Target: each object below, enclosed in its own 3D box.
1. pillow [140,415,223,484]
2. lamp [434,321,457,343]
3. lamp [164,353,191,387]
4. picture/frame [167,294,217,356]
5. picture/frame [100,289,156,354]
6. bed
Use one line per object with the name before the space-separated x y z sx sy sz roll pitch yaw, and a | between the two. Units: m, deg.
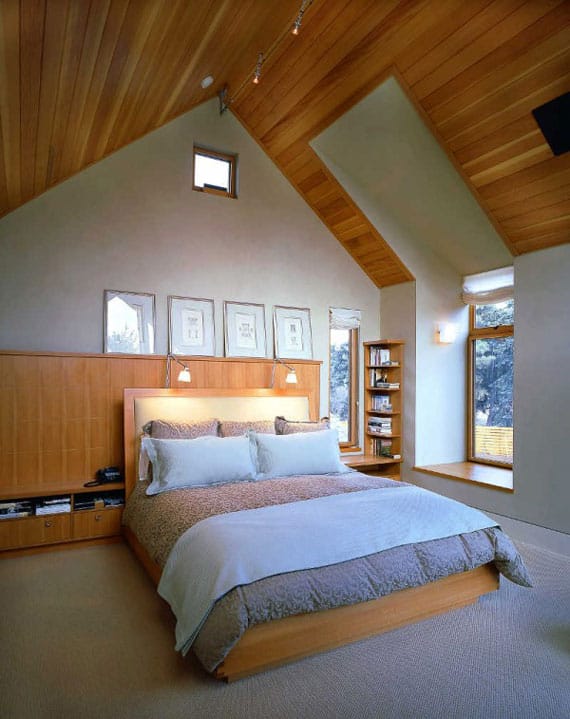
pillow | -0.744 0.646 3.630 0.424 0.308 0.148 0 -27 -17
lamp | 1.646 -0.274 5.240 0.271 0.206 0.127 1 -1 -31
lamp | -0.848 0.092 4.299 0.240 0.268 0.277 1 -1 -30
picture/frame | -0.846 -0.304 4.543 0.547 0.669 0.074 0 -2 -35
picture/frame | -1.320 -0.313 4.245 0.534 0.727 0.095 1 -1 -35
bed | -0.020 0.862 3.310 1.836 1.080 2.249 -3 0 -30
